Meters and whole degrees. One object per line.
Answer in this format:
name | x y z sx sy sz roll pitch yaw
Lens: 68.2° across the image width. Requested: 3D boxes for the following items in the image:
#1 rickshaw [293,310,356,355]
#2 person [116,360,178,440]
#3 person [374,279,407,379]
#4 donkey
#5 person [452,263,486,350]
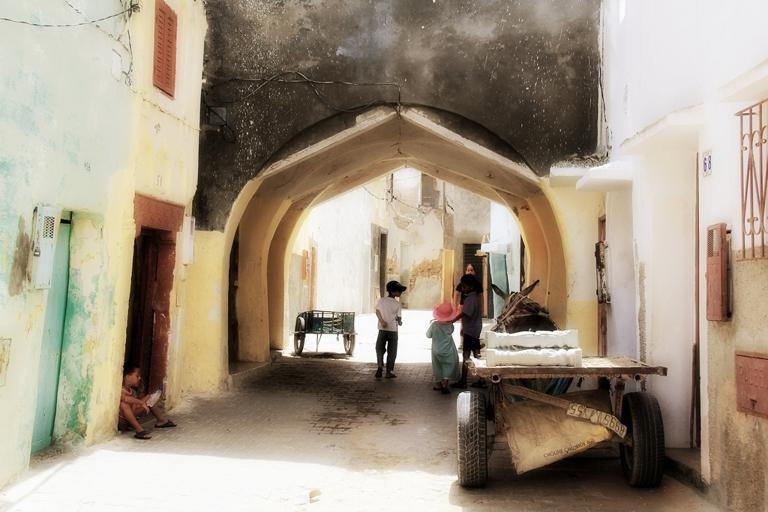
rickshaw | -1.486 1.862 13.904 1.429 0.981 1.363 1 -1 -10
person | -3.126 1.888 7.397 0.759 0.858 0.716 0 -5 15
person | 0.072 1.416 10.889 0.817 1.711 0.547 1 -1 -43
donkey | 1.941 1.199 7.456 0.927 1.707 1.824 0 3 2
person | 1.639 0.951 10.809 0.520 1.601 0.366 0 3 22
